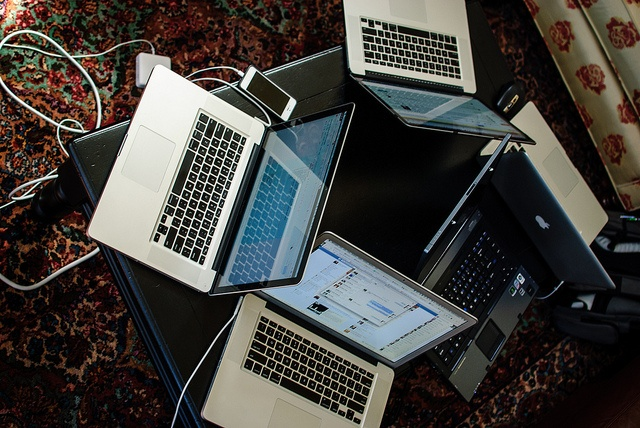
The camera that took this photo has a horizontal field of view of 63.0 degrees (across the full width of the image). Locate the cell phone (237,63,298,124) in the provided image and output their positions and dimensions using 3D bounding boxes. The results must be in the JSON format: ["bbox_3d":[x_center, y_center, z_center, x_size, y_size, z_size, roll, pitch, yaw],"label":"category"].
[{"bbox_3d":[-0.206,-0.459,2.036,0.225,0.022,0.127,38,74,-19],"label":"cell phone"}]
